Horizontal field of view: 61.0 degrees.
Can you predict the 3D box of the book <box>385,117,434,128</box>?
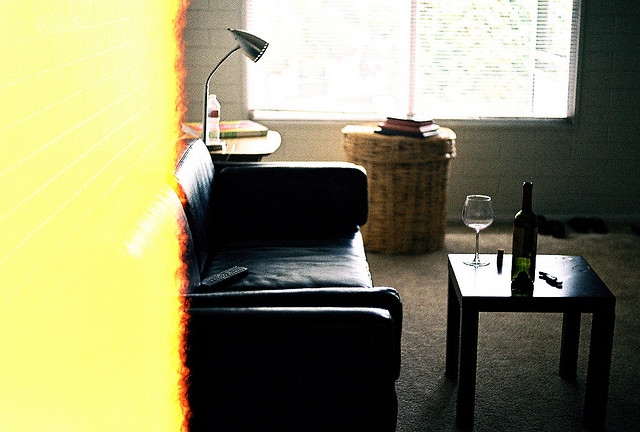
[{"bbox_3d":[0.638,-0.675,3.910,0.330,0.069,0.120,0,14,6],"label":"book"}]
